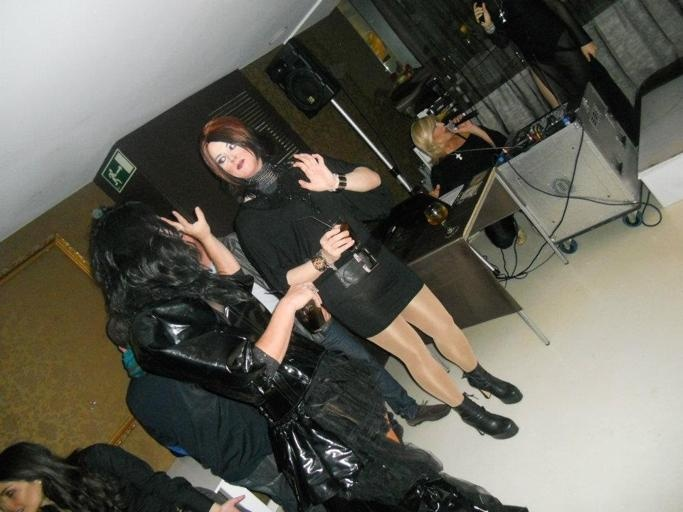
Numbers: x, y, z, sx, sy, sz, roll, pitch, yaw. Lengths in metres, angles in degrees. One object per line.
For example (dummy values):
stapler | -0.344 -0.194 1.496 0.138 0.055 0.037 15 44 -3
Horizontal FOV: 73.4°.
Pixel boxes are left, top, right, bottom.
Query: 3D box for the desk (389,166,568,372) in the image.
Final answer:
desk | 0.963 -0.063 3.458 1.171 0.871 1.184 -34 19 35

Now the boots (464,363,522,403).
boots | 0.948 0.770 2.845 0.251 0.363 0.126 71 -146 -60

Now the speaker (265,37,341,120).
speaker | -0.306 -1.487 3.810 0.564 0.557 0.208 -39 18 26

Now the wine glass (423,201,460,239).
wine glass | 0.656 -0.251 3.040 0.156 0.235 0.148 -35 -2 7

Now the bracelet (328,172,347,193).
bracelet | -0.014 -0.376 2.368 0.076 0.089 0.036 -6 4 -39

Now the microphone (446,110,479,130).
microphone | 1.056 -1.204 4.029 0.262 0.145 0.038 -29 -17 15

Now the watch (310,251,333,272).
watch | -0.108 0.023 2.249 0.102 0.083 0.086 -48 -15 -22
